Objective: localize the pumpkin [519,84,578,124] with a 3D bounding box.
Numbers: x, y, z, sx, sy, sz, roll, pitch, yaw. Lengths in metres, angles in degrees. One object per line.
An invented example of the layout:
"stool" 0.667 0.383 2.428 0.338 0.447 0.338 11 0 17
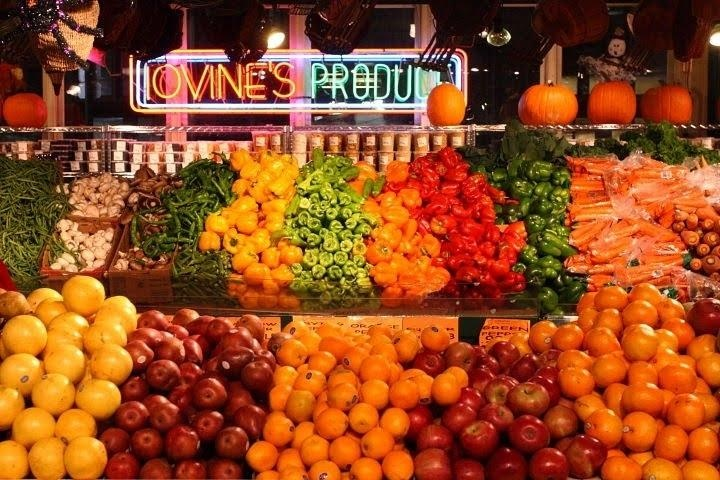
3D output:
"pumpkin" 2.109 -1.525 6.393 0.497 0.457 0.519 7 19 24

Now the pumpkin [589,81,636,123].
"pumpkin" 2.951 -1.569 6.637 0.485 0.482 0.505 3 10 14

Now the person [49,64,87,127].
"person" -4.194 -2.136 8.369 0.388 0.757 0.528 28 38 29

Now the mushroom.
"mushroom" -2.167 -0.128 4.593 0.435 0.195 0.850 2 64 2

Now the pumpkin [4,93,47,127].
"pumpkin" -4.376 -1.656 7.457 0.498 0.497 0.502 -7 15 -22

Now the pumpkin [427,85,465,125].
"pumpkin" 0.925 -1.536 6.657 0.441 0.561 0.451 -2 3 -3

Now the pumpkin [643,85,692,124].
"pumpkin" 3.570 -1.575 6.538 0.512 0.389 0.447 10 33 3
